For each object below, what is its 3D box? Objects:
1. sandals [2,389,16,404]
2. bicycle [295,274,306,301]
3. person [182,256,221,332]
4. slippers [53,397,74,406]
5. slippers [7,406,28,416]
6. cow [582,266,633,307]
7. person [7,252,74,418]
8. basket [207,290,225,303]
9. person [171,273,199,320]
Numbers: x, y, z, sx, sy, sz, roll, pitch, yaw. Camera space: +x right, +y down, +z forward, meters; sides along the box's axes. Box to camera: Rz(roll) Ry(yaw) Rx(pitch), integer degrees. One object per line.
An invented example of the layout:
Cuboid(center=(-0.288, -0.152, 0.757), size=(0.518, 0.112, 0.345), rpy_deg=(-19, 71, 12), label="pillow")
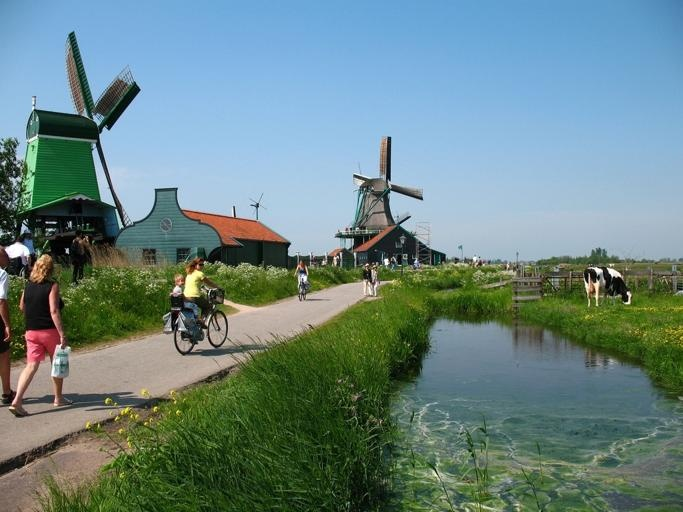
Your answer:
Cuboid(center=(-6.624, 2.834, 11.175), size=(0.168, 0.200, 0.478), rpy_deg=(1, 1, -1), label="sandals")
Cuboid(center=(-2.155, 1.732, 31.275), size=(0.445, 1.420, 0.968), rpy_deg=(3, 4, -7), label="bicycle")
Cuboid(center=(-3.933, 1.039, 15.888), size=(0.757, 1.969, 1.116), rpy_deg=(-4, -7, 40), label="person")
Cuboid(center=(-5.510, 2.903, 11.037), size=(0.328, 0.144, 0.174), rpy_deg=(-3, 3, -27), label="slippers")
Cuboid(center=(-6.090, 2.910, 10.517), size=(0.295, 0.199, 0.272), rpy_deg=(1, 5, -33), label="slippers")
Cuboid(center=(13.946, 1.695, 29.149), size=(3.139, 1.942, 0.815), rpy_deg=(6, -8, -26), label="cow")
Cuboid(center=(-5.850, 1.498, 10.776), size=(0.954, 3.030, 1.084), rpy_deg=(0, 5, -32), label="person")
Cuboid(center=(-3.634, 1.140, 16.054), size=(0.393, 0.337, 0.404), rpy_deg=(-1, -2, 4), label="basket")
Cuboid(center=(-4.501, 1.075, 16.063), size=(0.699, 1.249, 2.439), rpy_deg=(2, 5, -15), label="person")
